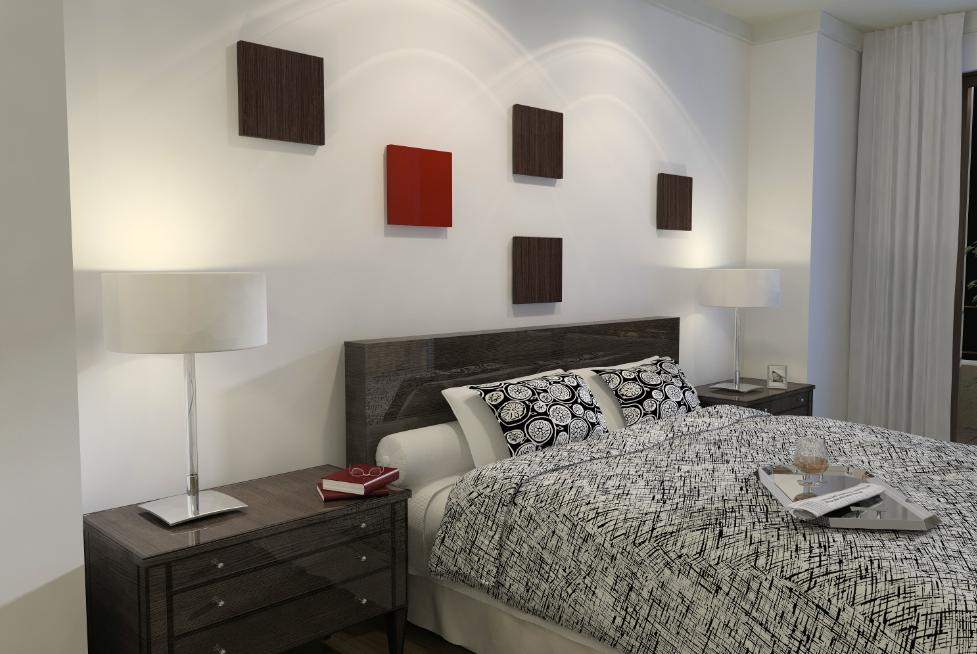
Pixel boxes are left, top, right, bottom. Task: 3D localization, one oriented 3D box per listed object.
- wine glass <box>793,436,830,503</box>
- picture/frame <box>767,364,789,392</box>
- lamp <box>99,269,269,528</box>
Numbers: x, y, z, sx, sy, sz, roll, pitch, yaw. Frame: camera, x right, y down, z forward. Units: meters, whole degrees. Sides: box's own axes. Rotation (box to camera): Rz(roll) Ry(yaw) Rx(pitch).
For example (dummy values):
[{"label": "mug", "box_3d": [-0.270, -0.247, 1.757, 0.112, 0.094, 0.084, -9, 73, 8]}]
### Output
[{"label": "wine glass", "box_3d": [1.262, 0.541, 2.647, 0.116, 0.198, 0.318, 6, 16, 26]}, {"label": "picture/frame", "box_3d": [2.109, 0.360, 4.905, 0.159, 0.234, 0.169, 0, 0, 28]}, {"label": "lamp", "box_3d": [-1.128, 0.250, 2.656, 0.586, 0.980, 0.327, -10, 17, -30]}]
